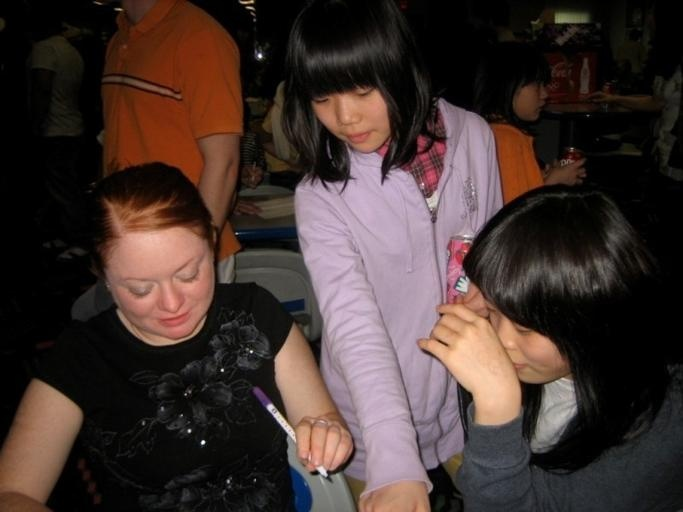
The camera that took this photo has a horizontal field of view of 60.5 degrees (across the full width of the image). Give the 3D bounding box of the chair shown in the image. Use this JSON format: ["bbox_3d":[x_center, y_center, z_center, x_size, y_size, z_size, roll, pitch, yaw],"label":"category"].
[{"bbox_3d":[-0.276,0.141,2.486,0.443,0.423,0.190,-2,18,-7],"label":"chair"}]

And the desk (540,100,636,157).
[{"bbox_3d":[2.078,-1.137,5.427,0.658,0.420,0.657,-16,15,-15],"label":"desk"}]
